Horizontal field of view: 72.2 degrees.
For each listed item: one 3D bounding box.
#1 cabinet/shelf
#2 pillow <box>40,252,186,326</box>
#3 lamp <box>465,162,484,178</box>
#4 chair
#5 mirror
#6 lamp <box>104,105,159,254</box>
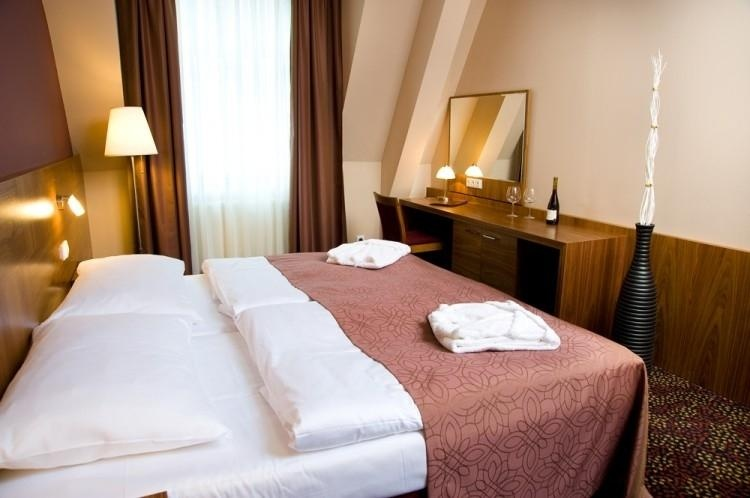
[{"bbox_3d":[0.861,0.072,3.946,0.251,0.481,0.492,-3,14,-23],"label":"cabinet/shelf"},{"bbox_3d":[-1.373,0.216,2.840,0.480,0.138,0.443,-1,22,-33],"label":"pillow"},{"bbox_3d":[0.939,-0.749,4.866,0.119,0.078,0.124,1,13,-7],"label":"lamp"},{"bbox_3d":[0.303,-0.326,5.054,0.605,0.954,0.513,-6,21,-14],"label":"chair"},{"bbox_3d":[1.046,-1.027,4.645,0.064,0.860,0.798,-10,18,-28],"label":"mirror"},{"bbox_3d":[-2.018,-0.541,4.304,0.378,1.255,0.458,-8,20,-28],"label":"lamp"}]
